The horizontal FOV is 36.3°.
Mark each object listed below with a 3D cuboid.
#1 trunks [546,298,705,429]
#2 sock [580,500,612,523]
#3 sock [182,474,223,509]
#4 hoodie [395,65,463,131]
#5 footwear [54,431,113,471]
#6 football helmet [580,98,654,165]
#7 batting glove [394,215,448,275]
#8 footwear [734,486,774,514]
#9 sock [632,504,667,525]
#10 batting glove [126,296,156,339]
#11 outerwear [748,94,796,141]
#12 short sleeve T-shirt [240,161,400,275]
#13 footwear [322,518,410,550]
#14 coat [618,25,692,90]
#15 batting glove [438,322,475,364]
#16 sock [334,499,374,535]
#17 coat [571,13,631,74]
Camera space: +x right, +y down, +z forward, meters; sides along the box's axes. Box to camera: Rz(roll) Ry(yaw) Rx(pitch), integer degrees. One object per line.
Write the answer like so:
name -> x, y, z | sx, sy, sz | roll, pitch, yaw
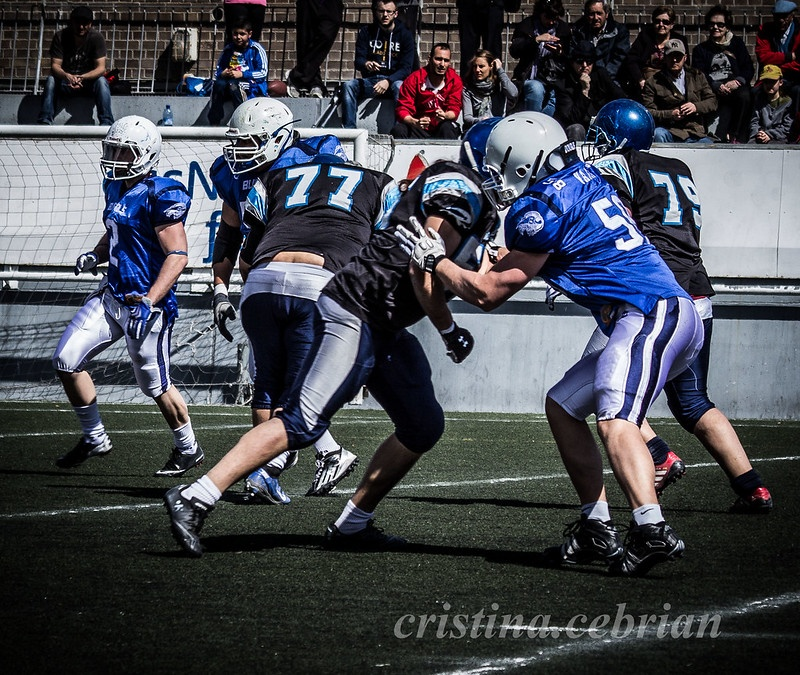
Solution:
trunks -> 1.004, 0.084, 5.343 | 0.672, 0.554, 0.486 | -6, 12, -43
sock -> 0.851, 0.752, 5.243 | 0.086, 0.091, 0.102 | 1, -3, -11
sock -> -0.815, 0.650, 5.092 | 0.147, 0.092, 0.150 | -15, -16, 30
hoodie -> 0.280, -2.512, 12.807 | 0.646, 0.757, 0.703 | 2, 26, -8
footwear -> -1.916, 0.694, 7.502 | 0.372, 0.168, 0.131 | -19, 14, -37
football helmet -> 1.288, -1.201, 7.100 | 0.494, 0.423, 0.382 | 4, 10, 12
batting glove -> 0.097, -0.397, 5.208 | 0.163, 0.236, 0.069 | -30, -33, 0
footwear -> 1.817, 0.848, 6.239 | 0.095, 0.116, 0.254 | 0, -4, -15
sock -> 1.007, 0.716, 4.964 | 0.100, 0.077, 0.080 | -3, 6, 12
batting glove -> -1.490, -0.108, 7.062 | 0.166, 0.233, 0.071 | -4, -26, 17
outerwear -> 3.832, -2.263, 12.470 | 0.372, 0.529, 0.310 | 12, -15, 44
short sleeve T-shirt -> -0.392, -0.630, 5.904 | 0.548, 0.251, 0.665 | 5, 44, 18
footwear -> -0.147, 0.865, 5.354 | 0.361, 0.159, 0.130 | 1, -8, 0
coat -> 2.617, -2.889, 12.578 | 0.718, 0.712, 0.487 | 12, 11, -13
batting glove -> 0.261, -0.002, 5.588 | 0.184, 0.088, 0.257 | 28, 21, -6
sock -> -0.187, 0.788, 5.422 | 0.124, 0.092, 0.187 | 18, 21, 34
coat -> 2.087, -3.054, 12.641 | 0.594, 0.653, 0.464 | 3, 9, 9
